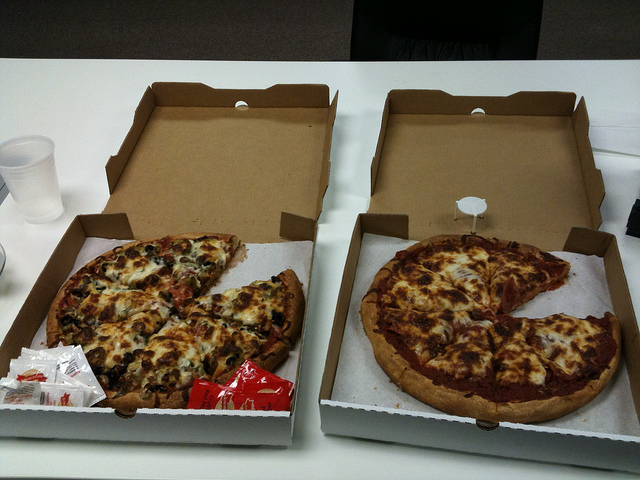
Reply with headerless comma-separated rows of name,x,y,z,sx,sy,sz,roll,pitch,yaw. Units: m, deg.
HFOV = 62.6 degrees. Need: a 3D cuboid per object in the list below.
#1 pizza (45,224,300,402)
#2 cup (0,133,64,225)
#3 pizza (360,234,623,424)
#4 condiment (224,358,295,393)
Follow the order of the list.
pizza,-0.387,0.175,1.340,0.434,0.065,0.434,-29,53,-30
cup,-0.874,-0.171,1.586,0.166,0.220,0.188,8,44,2
pizza,0.428,0.195,1.312,0.562,0.099,0.580,16,47,23
condiment,-0.138,0.311,1.169,0.111,0.169,0.046,-7,60,-7
